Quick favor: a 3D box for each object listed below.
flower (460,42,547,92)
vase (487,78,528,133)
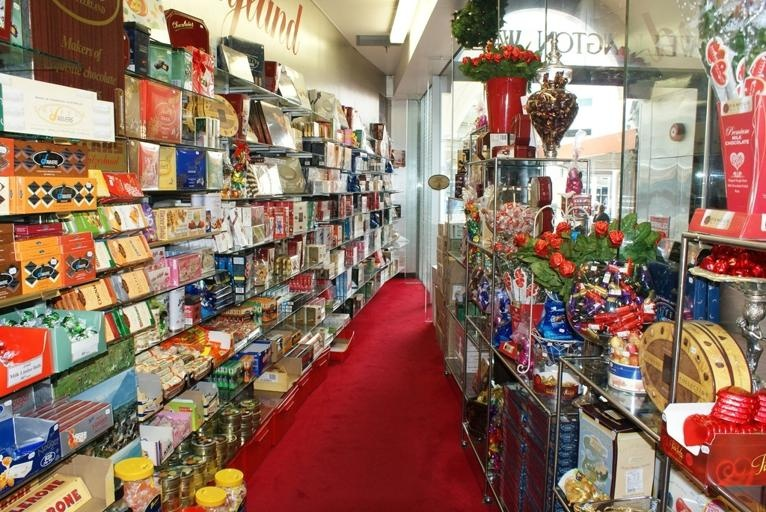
[{"bbox_3d":[0.824,-1.365,3.746,0.468,0.320,0.468,-3,15,-6],"label":"flower"},{"bbox_3d":[0.824,-1.074,3.801,0.340,0.395,0.341,-2,8,-14],"label":"vase"}]
